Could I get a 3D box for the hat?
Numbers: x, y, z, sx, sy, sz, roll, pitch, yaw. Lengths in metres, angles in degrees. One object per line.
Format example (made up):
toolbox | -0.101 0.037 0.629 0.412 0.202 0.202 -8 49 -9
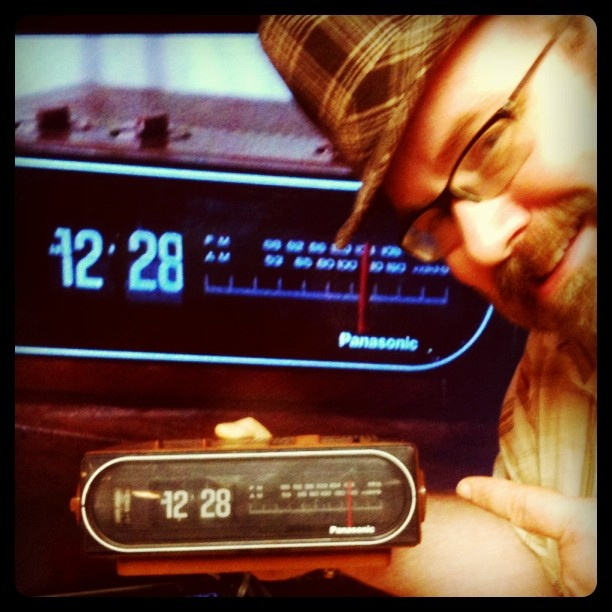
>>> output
hat | 0.084 -0.329 1.533 0.172 0.471 0.425 11 40 -4
